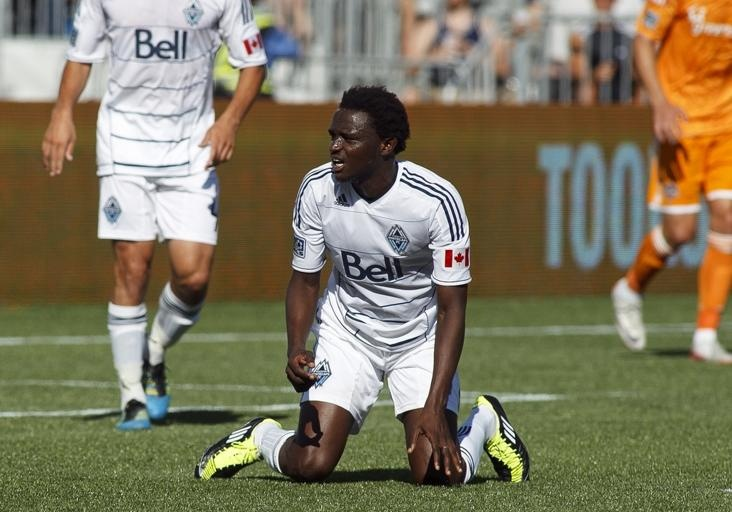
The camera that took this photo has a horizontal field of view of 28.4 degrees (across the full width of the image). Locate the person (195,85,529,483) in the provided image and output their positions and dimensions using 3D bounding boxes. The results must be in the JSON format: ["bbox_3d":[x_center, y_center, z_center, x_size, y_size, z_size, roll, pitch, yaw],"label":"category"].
[{"bbox_3d":[-0.056,0.140,8.142,1.263,2.168,0.625,0,8,8],"label":"person"}]

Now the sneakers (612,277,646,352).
[{"bbox_3d":[1.785,0.408,9.998,0.175,0.549,0.219,-10,-5,7],"label":"sneakers"}]

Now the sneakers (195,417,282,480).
[{"bbox_3d":[-0.729,1.082,8.200,0.515,0.190,0.216,-39,19,-15],"label":"sneakers"}]

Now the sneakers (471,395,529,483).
[{"bbox_3d":[0.809,1.091,8.230,0.183,0.575,0.223,-27,-1,19],"label":"sneakers"}]
